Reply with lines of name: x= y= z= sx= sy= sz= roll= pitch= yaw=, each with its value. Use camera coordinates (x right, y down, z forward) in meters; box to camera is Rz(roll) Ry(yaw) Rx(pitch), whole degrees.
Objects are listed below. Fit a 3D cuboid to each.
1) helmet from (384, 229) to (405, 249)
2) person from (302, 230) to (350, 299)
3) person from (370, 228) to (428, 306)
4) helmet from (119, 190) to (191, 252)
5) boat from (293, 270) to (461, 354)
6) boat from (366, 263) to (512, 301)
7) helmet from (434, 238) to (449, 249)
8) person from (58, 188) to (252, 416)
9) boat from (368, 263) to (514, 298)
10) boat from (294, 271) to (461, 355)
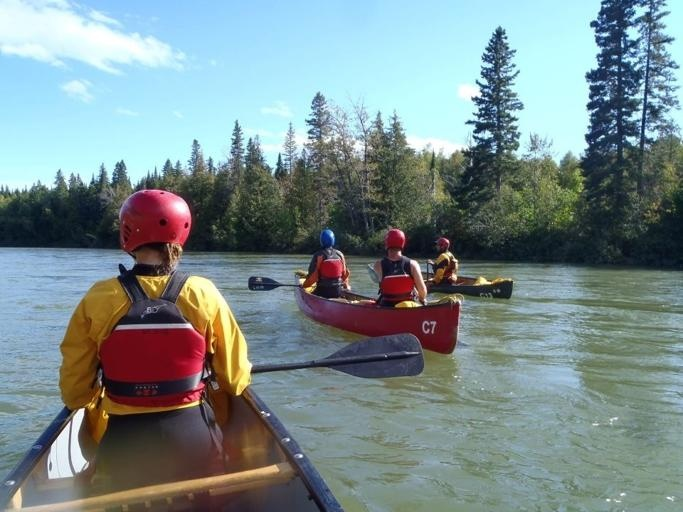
helmet: x=0.719 y=-0.214 z=8.640 sx=0.200 sy=0.274 sz=0.271 roll=3 pitch=2 yaw=0
person: x=-0.247 y=0.300 z=11.444 sx=0.825 sy=1.518 sz=0.815 roll=-5 pitch=12 yaw=-30
person: x=0.830 y=0.191 z=9.012 sx=0.698 sy=1.184 sz=0.838 roll=0 pitch=8 yaw=3
helmet: x=-1.323 y=-0.237 z=4.582 sx=0.487 sy=0.518 sz=0.425 roll=8 pitch=10 yaw=7
boat: x=0.223 y=0.746 z=10.412 sx=0.925 sy=0.876 sz=4.429 roll=2 pitch=2 yaw=-34
boat: x=2.017 y=0.553 z=12.980 sx=2.825 sy=0.532 sz=0.611 roll=5 pitch=3 yaw=39
helmet: x=2.138 y=-0.287 z=13.822 sx=0.316 sy=0.349 sz=0.260 roll=0 pitch=-3 yaw=20
person: x=-1.297 y=0.631 z=4.755 sx=1.301 sy=2.245 sz=1.050 roll=0 pitch=10 yaw=-9
boat: x=2.095 y=0.533 z=13.166 sx=2.767 sy=0.521 sz=0.597 roll=6 pitch=3 yaw=39
boat: x=0.267 y=0.700 z=10.430 sx=0.926 sy=0.880 sz=4.412 roll=2 pitch=2 yaw=-34
